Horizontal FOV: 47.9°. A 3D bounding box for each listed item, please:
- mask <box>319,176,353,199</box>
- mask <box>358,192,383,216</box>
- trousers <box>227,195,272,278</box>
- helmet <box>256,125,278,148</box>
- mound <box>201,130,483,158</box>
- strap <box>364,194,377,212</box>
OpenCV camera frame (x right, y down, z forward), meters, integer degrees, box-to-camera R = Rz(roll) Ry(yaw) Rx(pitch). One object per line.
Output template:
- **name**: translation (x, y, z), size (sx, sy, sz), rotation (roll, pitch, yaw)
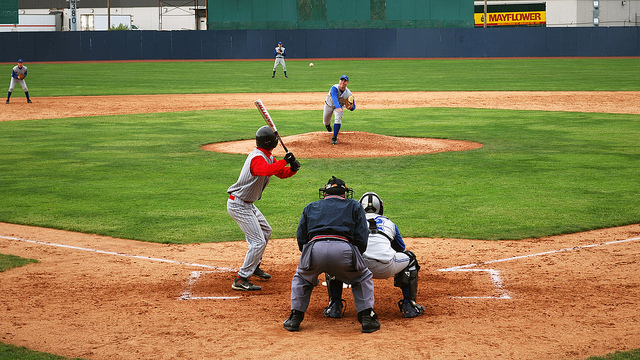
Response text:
- **mask**: translation (0.402, 0.210, 17.295), size (0.615, 0.467, 0.755), rotation (0, -2, 1)
- **mask**: translation (1.281, 0.584, 17.681), size (0.589, 0.487, 0.572), rotation (2, 0, 3)
- **trousers**: translation (-1.720, 1.434, 18.019), size (1.017, 2.051, 0.649), rotation (-1, 12, -5)
- **helmet**: translation (-1.298, -1.045, 17.786), size (0.527, 0.523, 0.269), rotation (-1, 12, -3)
- **mound**: translation (1.457, -1.431, 28.232), size (13.690, 1.019, 3.583), rotation (-1, -1, -2)
- **strap**: translation (1.243, 0.562, 17.473), size (0.272, 0.409, 0.109), rotation (0, 12, 3)
